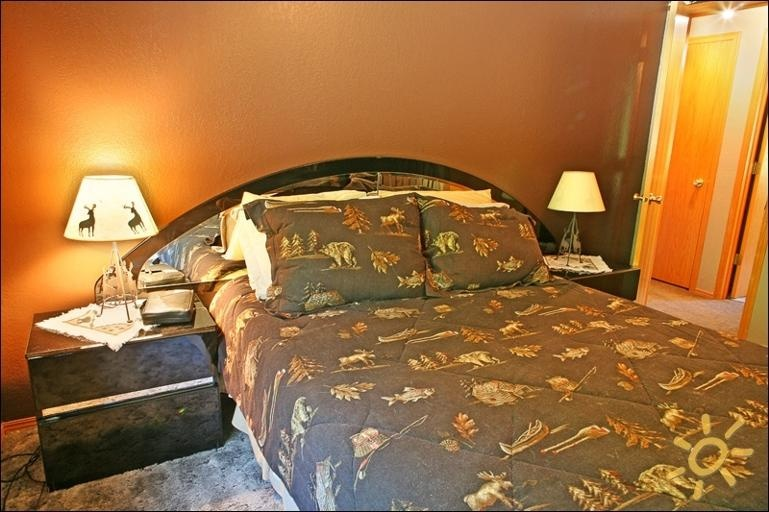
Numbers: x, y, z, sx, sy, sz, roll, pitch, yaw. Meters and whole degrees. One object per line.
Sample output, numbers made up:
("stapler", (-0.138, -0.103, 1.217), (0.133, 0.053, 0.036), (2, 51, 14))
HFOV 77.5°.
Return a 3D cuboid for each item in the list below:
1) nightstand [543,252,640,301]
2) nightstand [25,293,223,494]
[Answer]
("nightstand", (1.615, 0.204, 3.592), (0.508, 0.266, 0.471), (3, 8, 8))
("nightstand", (-1.461, 0.763, 2.737), (0.889, 0.667, 0.631), (-5, 5, -29))
